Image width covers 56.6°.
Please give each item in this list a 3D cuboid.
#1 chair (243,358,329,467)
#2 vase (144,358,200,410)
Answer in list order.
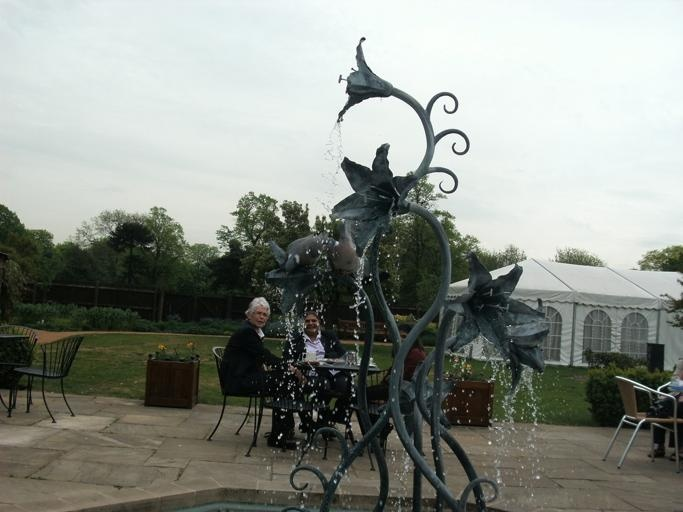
[{"bbox_3d":[-0.742,2.109,8.972,1.073,1.643,1.177,3,-6,-7],"label":"chair"},{"bbox_3d":[-2.981,2.255,11.192,0.837,0.942,0.883,2,-7,0],"label":"vase"}]
